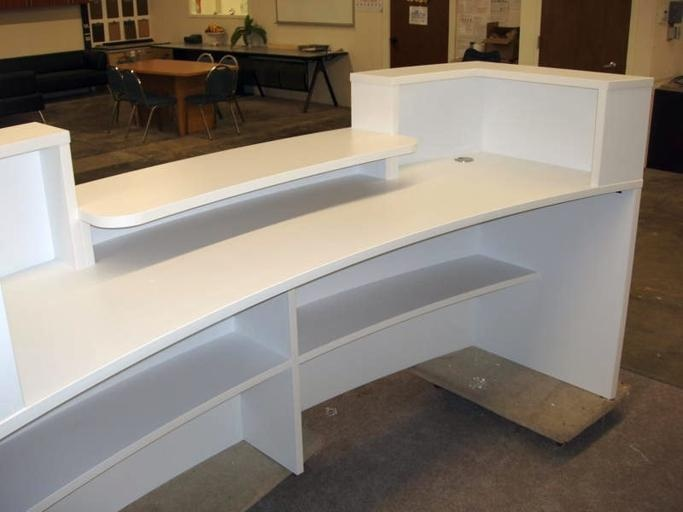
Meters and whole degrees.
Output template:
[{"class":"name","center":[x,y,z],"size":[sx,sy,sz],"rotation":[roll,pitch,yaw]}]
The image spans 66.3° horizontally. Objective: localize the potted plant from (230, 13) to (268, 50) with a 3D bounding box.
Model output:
[{"class":"potted plant","center":[-1.540,-3.810,8.975],"size":[0.585,0.455,0.637],"rotation":[2,25,4]}]

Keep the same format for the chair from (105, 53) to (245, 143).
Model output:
[{"class":"chair","center":[-2.211,-2.155,7.128],"size":[1.617,0.890,1.359],"rotation":[21,33,39]}]
